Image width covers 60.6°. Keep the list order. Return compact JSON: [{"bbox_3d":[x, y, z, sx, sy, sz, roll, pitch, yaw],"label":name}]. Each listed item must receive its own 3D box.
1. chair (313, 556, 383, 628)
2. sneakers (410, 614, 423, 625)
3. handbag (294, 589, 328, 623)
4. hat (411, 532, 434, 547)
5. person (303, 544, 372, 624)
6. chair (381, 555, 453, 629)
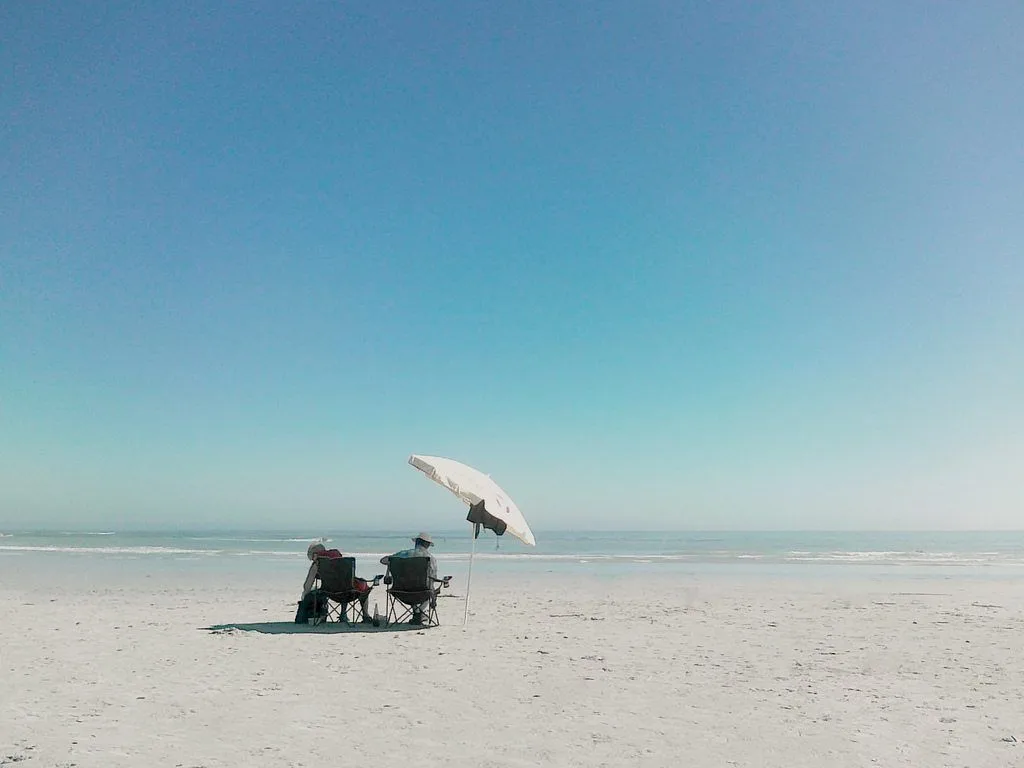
[{"bbox_3d":[-3.071,3.687,15.837,1.044,1.174,1.075,-5,-8,43],"label":"chair"},{"bbox_3d":[-1.730,4.303,15.962,0.186,0.189,0.099,2,6,10],"label":"sneakers"},{"bbox_3d":[-3.610,4.112,16.036,0.587,0.633,0.637,3,-3,-23],"label":"handbag"},{"bbox_3d":[-1.575,2.849,15.856,0.370,0.167,0.353,-1,-28,46],"label":"hat"},{"bbox_3d":[-3.219,3.640,15.946,0.949,1.477,1.093,2,5,-15],"label":"person"},{"bbox_3d":[-1.782,3.783,15.921,1.224,1.233,1.160,7,-14,-36],"label":"chair"}]
